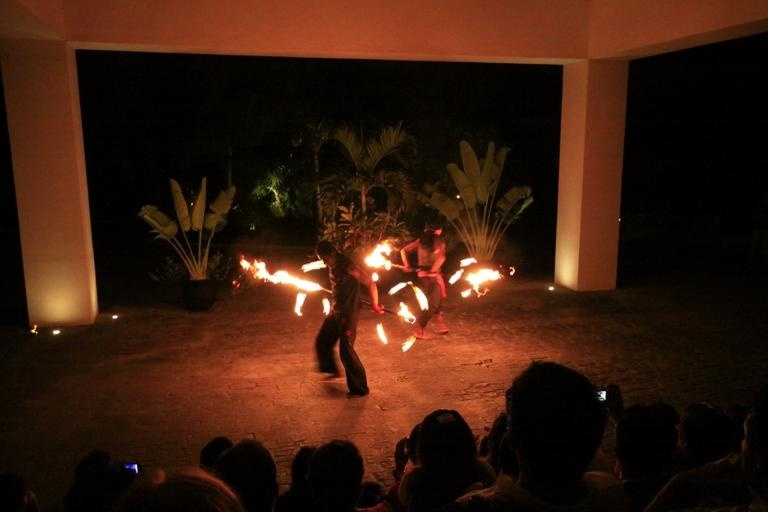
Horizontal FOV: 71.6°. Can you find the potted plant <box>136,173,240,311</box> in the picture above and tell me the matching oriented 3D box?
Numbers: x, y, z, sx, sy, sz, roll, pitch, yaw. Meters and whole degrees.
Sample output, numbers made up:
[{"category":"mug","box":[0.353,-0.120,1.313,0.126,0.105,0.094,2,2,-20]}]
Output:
[{"category":"potted plant","box":[-4.208,-0.270,12.072,2.591,2.817,2.162,-5,-4,-32]}]
